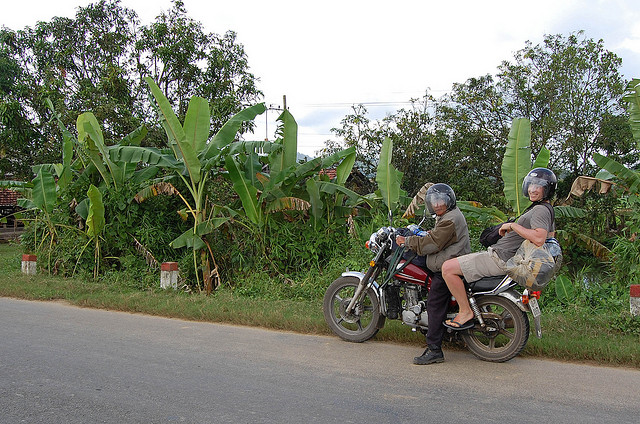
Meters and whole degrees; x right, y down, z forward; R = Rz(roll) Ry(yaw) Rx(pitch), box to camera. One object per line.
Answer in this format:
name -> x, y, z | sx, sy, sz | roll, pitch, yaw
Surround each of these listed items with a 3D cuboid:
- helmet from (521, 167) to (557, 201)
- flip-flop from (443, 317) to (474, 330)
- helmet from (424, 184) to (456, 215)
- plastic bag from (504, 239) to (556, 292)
helmet -> 3.241, -0.434, 7.279 | 0.573, 0.480, 0.445 | -5, 14, -26
flip-flop -> 2.057, 1.632, 7.247 | 0.355, 0.101, 0.145 | 3, 0, 3
helmet -> 1.862, -0.211, 7.714 | 0.582, 0.500, 0.479 | -8, 3, -21
plastic bag -> 3.017, 0.750, 7.211 | 0.771, 0.310, 0.932 | -3, 33, -2
